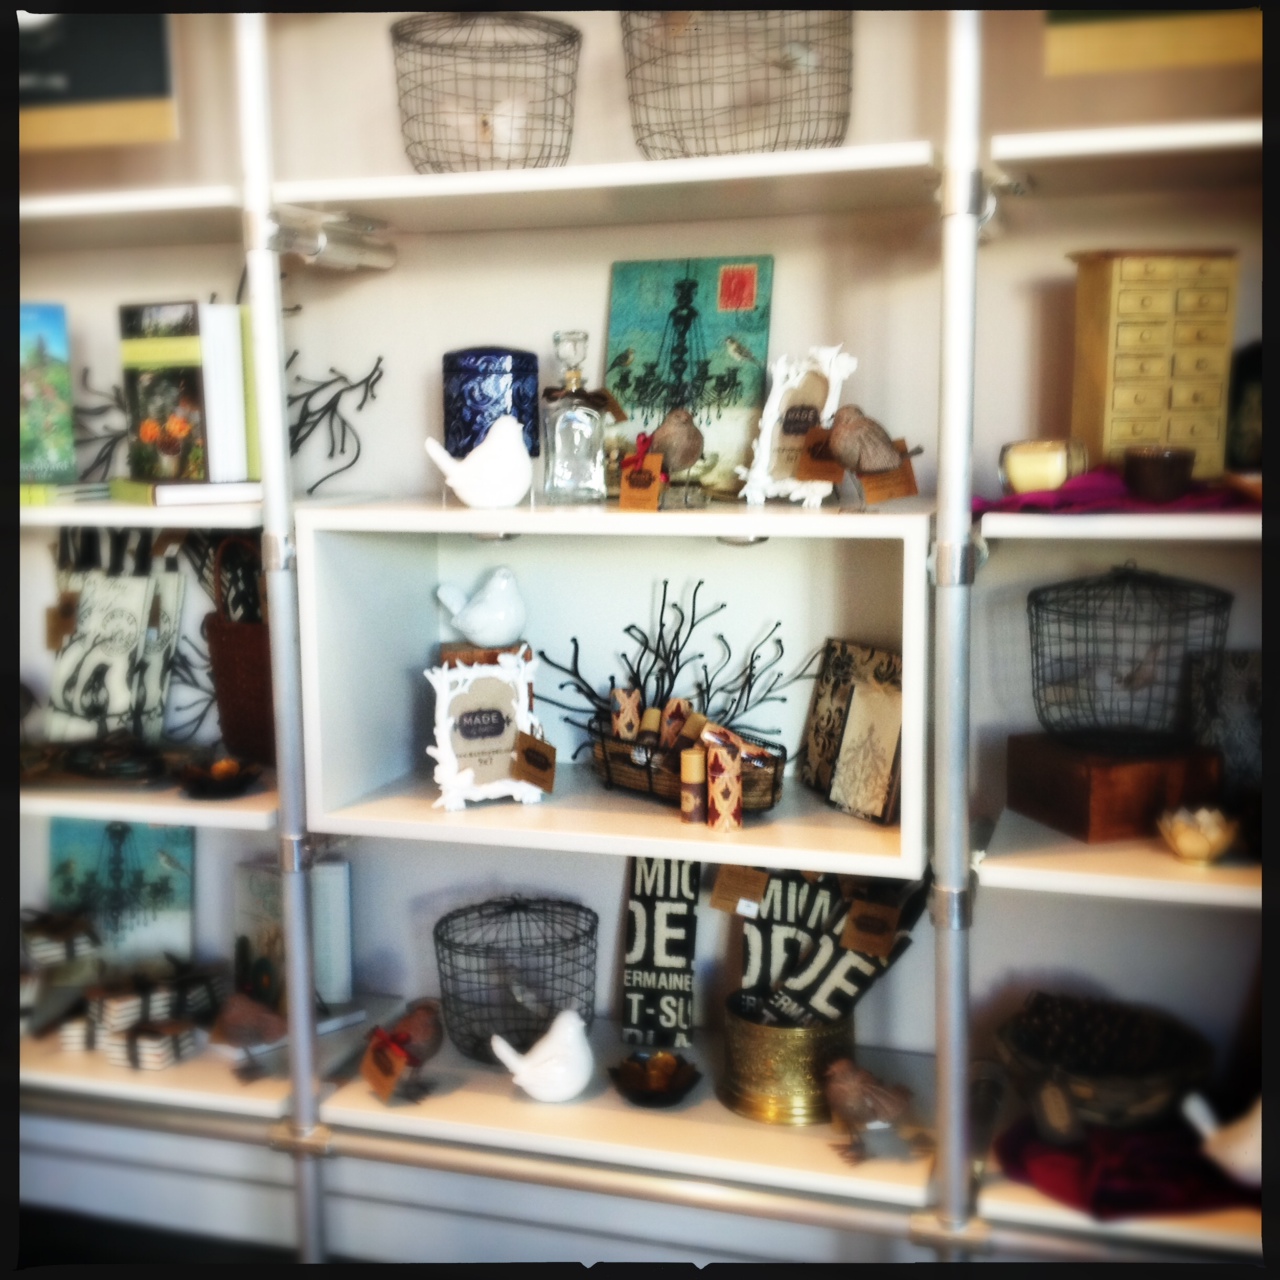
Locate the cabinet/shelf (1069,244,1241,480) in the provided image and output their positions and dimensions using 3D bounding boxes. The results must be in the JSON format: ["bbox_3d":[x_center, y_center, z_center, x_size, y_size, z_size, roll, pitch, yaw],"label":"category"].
[{"bbox_3d":[0.611,-0.341,1.507,0.168,0.267,0.176,-8,21,-9],"label":"cabinet/shelf"}]

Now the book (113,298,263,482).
[{"bbox_3d":[-0.622,-0.338,1.726,0.215,0.249,0.054,-1,-1,24],"label":"book"}]

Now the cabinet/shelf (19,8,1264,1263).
[{"bbox_3d":[0.045,-0.019,1.629,1.662,1.759,0.560,0,-1,13],"label":"cabinet/shelf"}]

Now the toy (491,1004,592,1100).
[{"bbox_3d":[-0.127,0.539,1.640,0.130,0.137,0.084,2,15,-8],"label":"toy"}]

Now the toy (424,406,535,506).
[{"bbox_3d":[-0.194,-0.231,1.544,0.133,0.145,0.091,2,4,-3],"label":"toy"}]

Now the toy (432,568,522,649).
[{"bbox_3d":[-0.223,-0.043,1.755,0.120,0.123,0.090,-2,4,1],"label":"toy"}]
